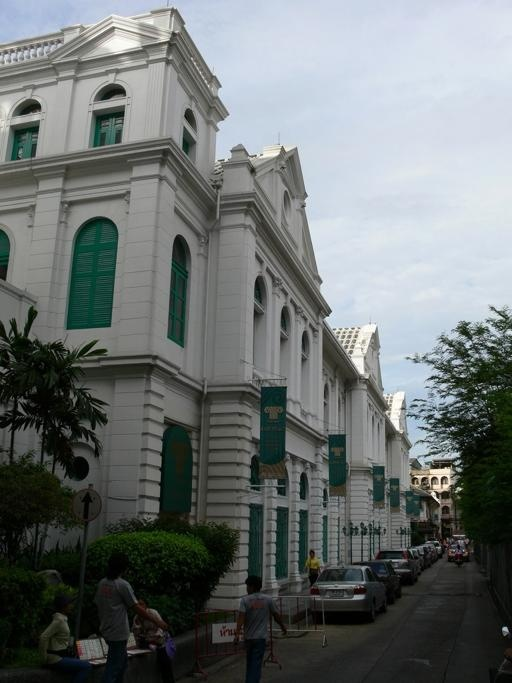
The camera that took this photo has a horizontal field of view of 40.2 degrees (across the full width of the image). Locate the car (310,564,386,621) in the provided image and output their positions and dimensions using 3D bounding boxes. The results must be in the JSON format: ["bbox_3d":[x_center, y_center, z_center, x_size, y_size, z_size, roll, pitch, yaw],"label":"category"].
[{"bbox_3d":[2.626,6.653,18.529,1.258,1.054,2.984,-4,-11,18],"label":"car"}]

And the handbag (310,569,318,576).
[{"bbox_3d":[2.037,8.118,24.660,0.202,0.147,0.215,0,-7,13],"label":"handbag"}]
